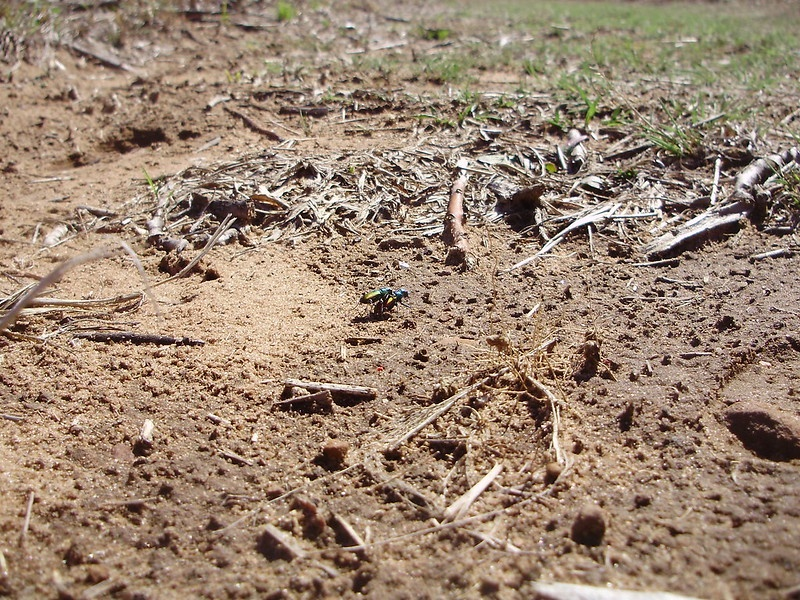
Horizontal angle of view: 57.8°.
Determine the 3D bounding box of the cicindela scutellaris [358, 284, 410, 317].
[{"bbox_3d":[-0.116,-0.023,5.408,0.385,0.200,0.222,-7,33,-3],"label":"cicindela scutellaris"}]
